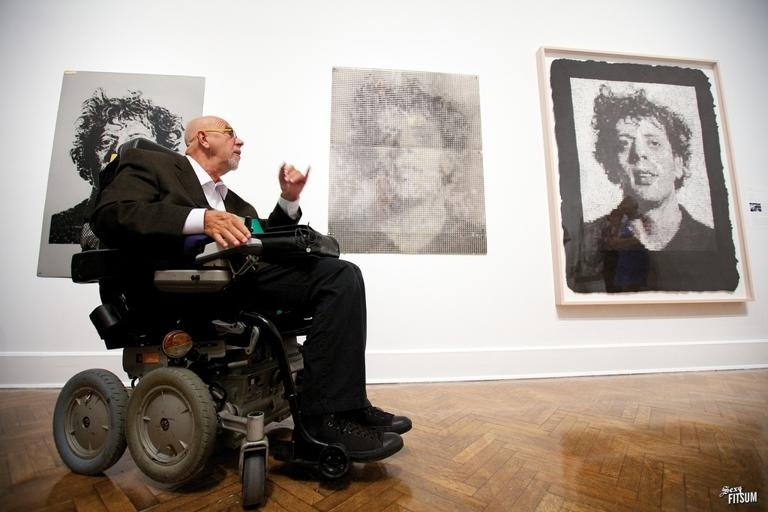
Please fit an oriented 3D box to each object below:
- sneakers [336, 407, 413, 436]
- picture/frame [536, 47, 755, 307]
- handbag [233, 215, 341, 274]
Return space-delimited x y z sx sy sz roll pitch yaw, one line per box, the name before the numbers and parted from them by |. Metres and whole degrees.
sneakers | -0.015 0.995 3.192 0.515 0.202 0.173 3 2 4
picture/frame | 2.217 -0.599 4.520 2.311 2.608 0.112 -1 -10 -13
handbag | -0.510 -0.032 3.277 0.582 0.233 0.579 -11 -10 21
